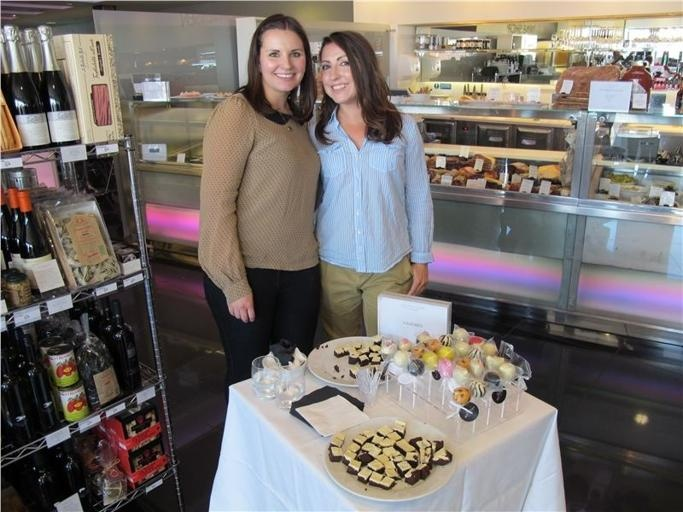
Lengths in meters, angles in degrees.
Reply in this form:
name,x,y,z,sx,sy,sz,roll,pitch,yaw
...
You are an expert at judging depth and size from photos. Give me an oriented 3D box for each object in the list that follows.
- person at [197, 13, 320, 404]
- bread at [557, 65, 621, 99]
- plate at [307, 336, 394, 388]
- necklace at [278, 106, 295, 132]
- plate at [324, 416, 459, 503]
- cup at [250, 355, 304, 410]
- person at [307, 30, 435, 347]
name,x,y,z,sx,sy,sz,roll,pitch,yaw
person,-0.316,-0.178,1.906,0.613,1.591,0.409,-10,21,-24
bread,1.793,-1.276,3.233,0.400,0.228,0.391,12,23,34
plate,0.017,0.365,1.549,0.179,0.021,0.180,-11,29,-15
necklace,-0.244,-0.590,1.873,0.031,0.119,0.088,-2,8,40
plate,0.131,0.525,1.167,0.319,0.058,0.277,8,21,24
cup,-0.211,0.384,1.424,0.186,0.128,0.117,7,14,32
person,0.146,-0.280,2.079,0.577,1.420,0.351,2,19,10
